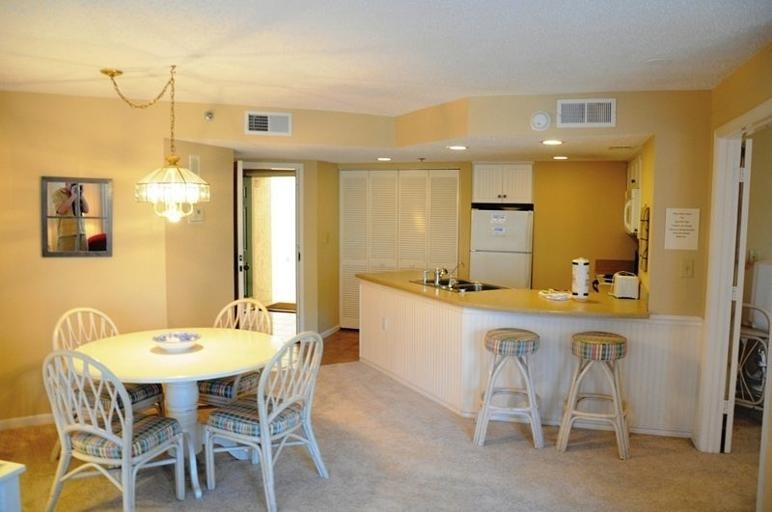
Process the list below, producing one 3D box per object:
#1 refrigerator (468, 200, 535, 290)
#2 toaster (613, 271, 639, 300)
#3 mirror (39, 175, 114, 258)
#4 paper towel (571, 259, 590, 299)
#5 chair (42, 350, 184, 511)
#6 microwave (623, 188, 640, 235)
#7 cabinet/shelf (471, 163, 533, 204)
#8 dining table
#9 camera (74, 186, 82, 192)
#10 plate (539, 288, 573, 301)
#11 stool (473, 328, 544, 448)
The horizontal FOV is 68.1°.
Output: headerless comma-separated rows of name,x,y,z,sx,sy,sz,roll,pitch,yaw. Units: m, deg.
refrigerator,1.662,-0.135,7.974,0.998,1.376,0.907,-3,27,3
toaster,2.395,0.299,5.735,0.250,0.302,0.322,1,1,20
mirror,-3.053,-0.397,5.563,0.888,1.056,0.081,-1,1,-26
paper towel,1.958,0.232,5.738,0.154,0.387,0.158,2,5,10
chair,-2.124,1.295,4.371,1.028,1.275,0.658,2,5,18
microwave,2.710,-0.474,6.288,0.169,0.450,0.513,2,0,17
cabinet/shelf,1.539,-0.970,7.687,0.821,0.552,0.284,0,3,-2
dining table,-1.650,1.077,4.708,1.500,0.863,1.399,0,1,11
camera,-2.993,-0.655,5.570,0.061,0.051,0.014,6,0,-13
plate,1.726,0.404,5.832,0.317,0.075,0.348,1,4,10
stool,1.156,1.228,5.404,0.854,0.916,0.813,-1,2,-44
